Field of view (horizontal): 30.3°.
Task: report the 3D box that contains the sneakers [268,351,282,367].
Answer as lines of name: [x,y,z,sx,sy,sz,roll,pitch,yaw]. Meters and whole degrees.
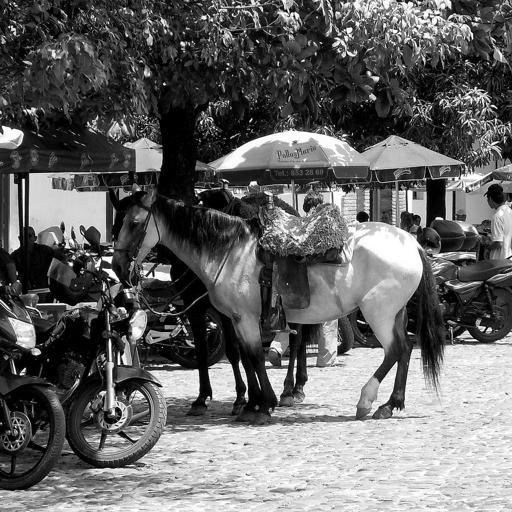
sneakers: [0.219,1.225,11.246,0.142,0.191,0.176,-2,-28,-1]

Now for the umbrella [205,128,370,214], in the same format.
umbrella: [0.649,-1.080,12.527,1.615,1.163,1.769,-1,6,-8]

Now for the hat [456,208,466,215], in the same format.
hat: [4.822,-1.037,22.182,0.338,0.178,0.489,-1,3,5]

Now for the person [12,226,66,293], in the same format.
person: [-2.796,0.046,11.647,0.667,0.869,1.497,10,-3,-5]
